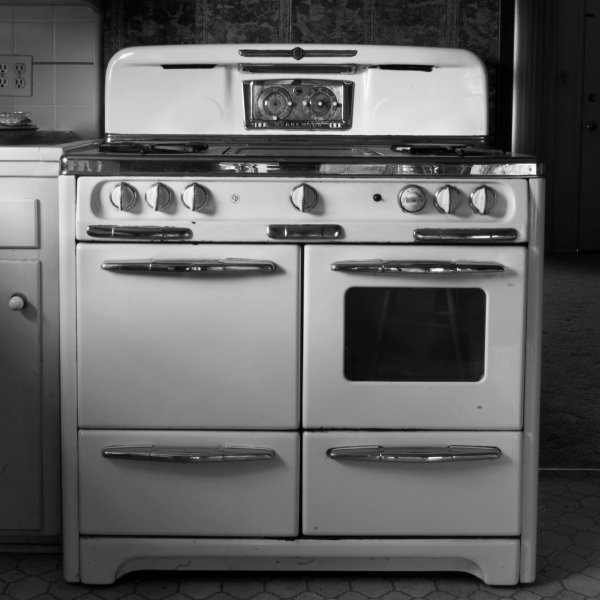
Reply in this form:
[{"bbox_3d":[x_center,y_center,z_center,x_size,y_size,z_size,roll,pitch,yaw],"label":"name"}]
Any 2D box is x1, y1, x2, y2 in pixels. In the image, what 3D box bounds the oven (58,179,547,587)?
[{"bbox_3d":[-0.005,0.174,1.693,1.032,0.819,0.547,2,-2,-4],"label":"oven"}]
